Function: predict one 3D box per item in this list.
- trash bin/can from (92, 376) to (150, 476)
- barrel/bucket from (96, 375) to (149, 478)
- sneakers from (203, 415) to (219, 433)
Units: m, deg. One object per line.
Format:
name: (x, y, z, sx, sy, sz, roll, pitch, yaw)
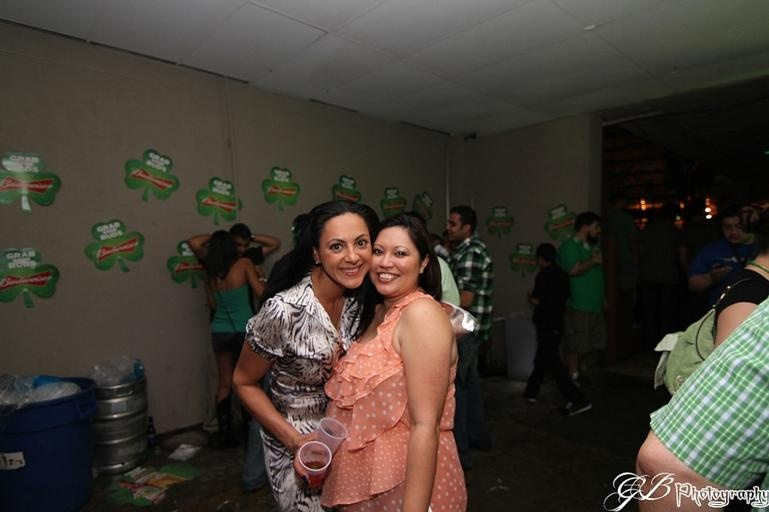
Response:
trash bin/can: (-2.588, 1.684, 4.655, 0.542, 0.846, 0.239, -10, 17, -32)
barrel/bucket: (-2.713, 1.759, 4.841, 0.568, 0.862, 0.553, -4, -7, -1)
sneakers: (-1.949, 1.901, 5.332, 0.198, 0.194, 0.071, -5, 11, -29)
